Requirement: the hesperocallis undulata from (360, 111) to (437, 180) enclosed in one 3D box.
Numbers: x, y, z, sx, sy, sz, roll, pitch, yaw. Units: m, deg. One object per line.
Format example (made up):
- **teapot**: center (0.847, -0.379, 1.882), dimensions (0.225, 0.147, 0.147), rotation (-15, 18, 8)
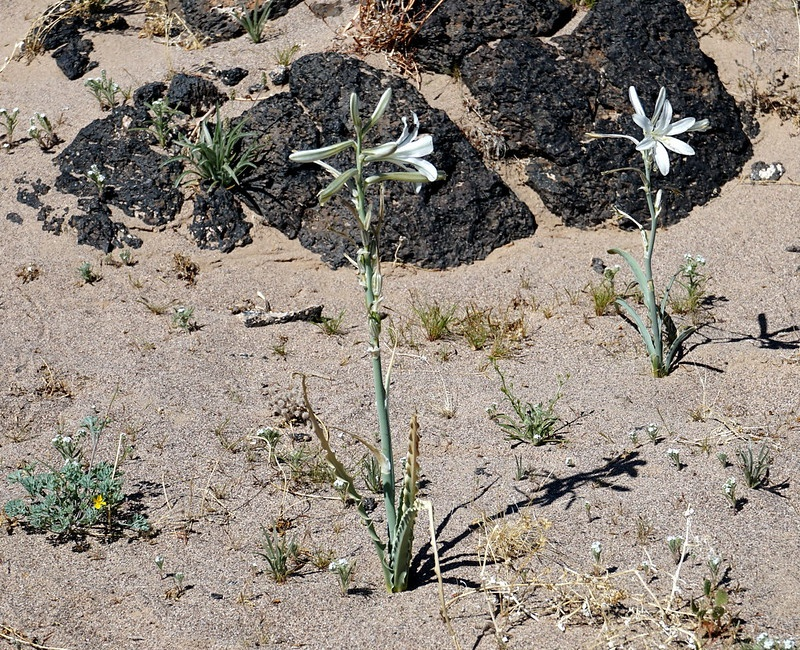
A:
- **hesperocallis undulata**: center (-0.002, -1.087, 8.777), dimensions (0.413, 0.349, 0.354), rotation (-5, 7, -7)
